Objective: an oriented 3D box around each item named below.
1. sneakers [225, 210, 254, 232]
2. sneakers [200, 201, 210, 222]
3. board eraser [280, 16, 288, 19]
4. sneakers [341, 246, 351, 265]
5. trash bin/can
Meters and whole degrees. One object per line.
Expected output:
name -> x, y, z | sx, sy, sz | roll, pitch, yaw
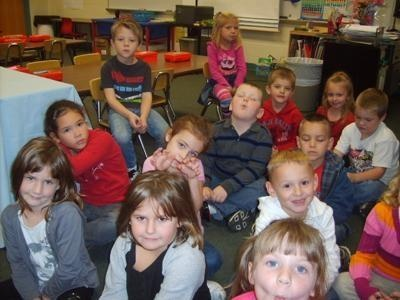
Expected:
sneakers -> 0.297, 0.512, 2.608 | 0.223, 0.125, 0.078 | -14, 41, -39
sneakers -> 0.037, 0.443, 2.455 | 0.040, 0.114, 0.092 | -3, 17, -6
board eraser -> 1.584, -2.482, 6.554 | 0.166, 0.059, 0.025 | 11, 20, 37
sneakers -> 0.901, 0.647, 2.156 | 0.061, 0.097, 0.137 | 6, 17, 23
trash bin/can -> 1.336, -0.981, 5.110 | 0.647, 0.756, 0.688 | 3, 24, 8
